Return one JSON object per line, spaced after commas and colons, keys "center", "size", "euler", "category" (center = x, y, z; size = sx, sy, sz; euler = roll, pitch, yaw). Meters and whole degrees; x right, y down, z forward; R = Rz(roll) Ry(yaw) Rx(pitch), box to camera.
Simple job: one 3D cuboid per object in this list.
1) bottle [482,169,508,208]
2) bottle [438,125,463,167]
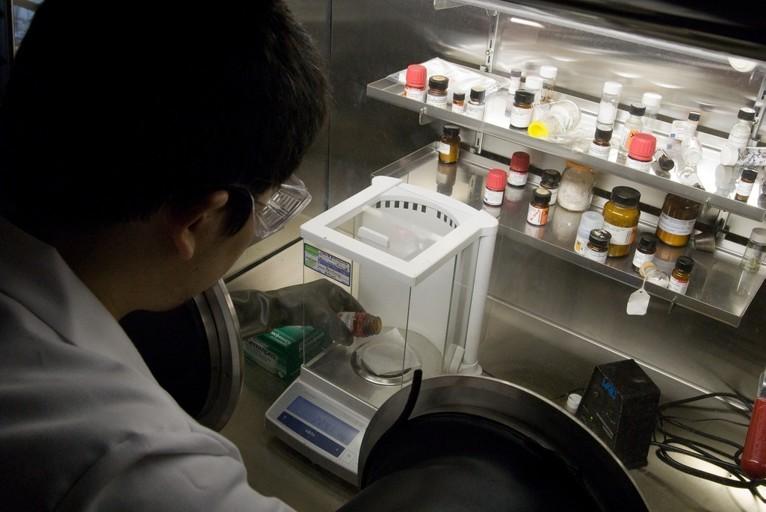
{"center": [0.335, -0.198, 1.629], "size": [0.085, 0.123, 0.086], "euler": [-1, 40, 0], "category": "bottle"}
{"center": [0.219, -0.356, 1.768], "size": [0.068, 0.112, 0.071], "euler": [2, 49, -2], "category": "bottle"}
